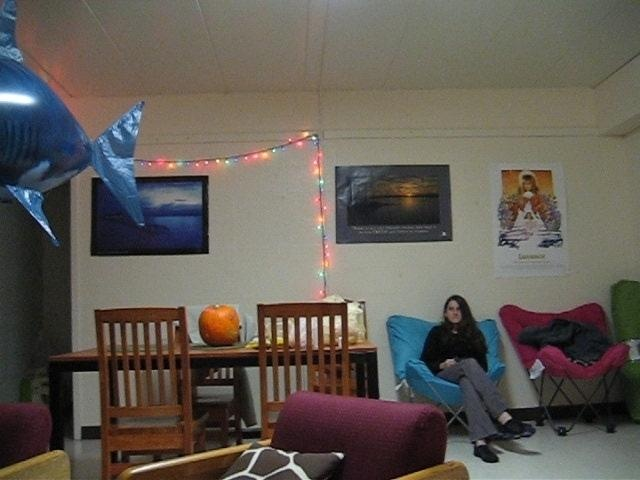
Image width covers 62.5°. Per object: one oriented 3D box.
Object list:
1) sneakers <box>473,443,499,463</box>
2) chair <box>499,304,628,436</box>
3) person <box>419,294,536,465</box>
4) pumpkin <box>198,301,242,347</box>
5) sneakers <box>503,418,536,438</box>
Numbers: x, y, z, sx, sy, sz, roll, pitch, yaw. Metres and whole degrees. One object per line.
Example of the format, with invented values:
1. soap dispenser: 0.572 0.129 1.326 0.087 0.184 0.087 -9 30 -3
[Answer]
1. sneakers: 1.234 1.584 3.934 0.083 0.085 0.209 -1 -11 -17
2. chair: 2.214 1.168 4.788 1.046 1.225 1.055 1 -18 1
3. person: 1.211 1.060 4.308 0.620 0.868 1.412 -8 10 2
4. pumpkin: -0.709 0.589 3.749 0.285 0.294 0.286 2 -4 -23
5. sneakers: 1.511 1.442 4.040 0.238 0.102 0.124 -11 -7 23
